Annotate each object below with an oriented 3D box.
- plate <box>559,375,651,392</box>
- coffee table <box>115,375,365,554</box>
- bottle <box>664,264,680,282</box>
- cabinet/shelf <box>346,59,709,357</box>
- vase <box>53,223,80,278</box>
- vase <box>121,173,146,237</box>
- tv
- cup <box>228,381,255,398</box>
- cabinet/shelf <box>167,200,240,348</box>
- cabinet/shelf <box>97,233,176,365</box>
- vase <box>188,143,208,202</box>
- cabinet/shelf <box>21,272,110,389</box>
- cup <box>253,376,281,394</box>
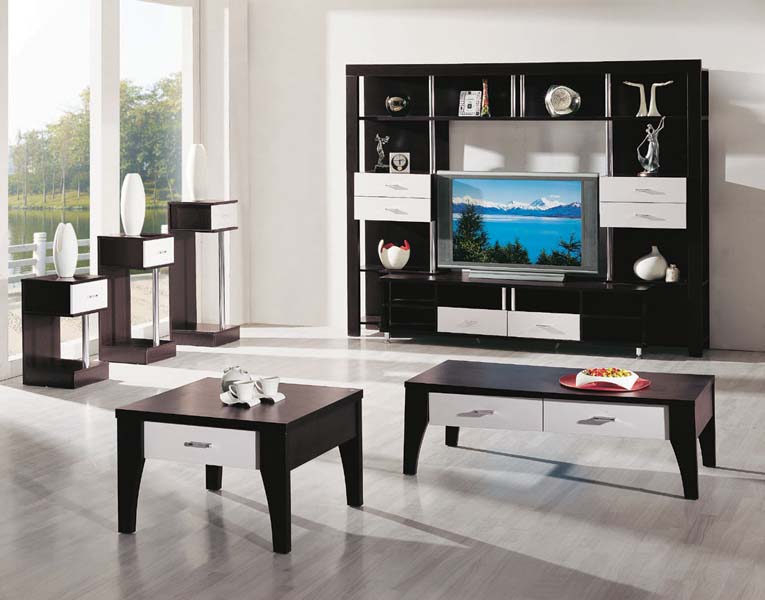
[{"bbox_3d":[0.992,0.370,3.070,0.380,0.033,0.248,3,8,23],"label":"plate"},{"bbox_3d":[-0.567,0.621,2.744,0.858,0.487,0.593,2,8,18],"label":"coffee table"},{"bbox_3d":[2.459,-0.219,5.781,0.149,0.148,0.146,3,7,26],"label":"bottle"},{"bbox_3d":[1.175,-0.735,6.085,3.254,2.178,0.878,3,6,9],"label":"cabinet/shelf"},{"bbox_3d":[-2.306,-0.356,4.961,0.155,0.384,0.228,-5,9,-26],"label":"vase"},{"bbox_3d":[-2.017,-0.766,5.519,0.183,0.502,0.280,-4,9,-21],"label":"vase"},{"bbox_3d":[1.277,-0.661,6.087,1.207,0.632,0.051,2,7,20],"label":"tv"},{"bbox_3d":[-0.541,0.338,2.616,0.081,0.051,0.063,-1,4,3],"label":"cup"},{"bbox_3d":[-1.645,-0.249,6.218,0.587,1.279,0.486,0,8,5],"label":"cabinet/shelf"},{"bbox_3d":[-2.017,-0.023,5.606,0.541,1.006,0.567,0,8,3],"label":"cabinet/shelf"},{"bbox_3d":[-1.696,-1.156,6.221,0.172,0.497,0.115,-2,9,-12],"label":"vase"},{"bbox_3d":[-2.239,0.227,4.812,0.585,0.750,0.342,-4,9,-25],"label":"cabinet/shelf"},{"bbox_3d":[-0.463,0.335,2.732,0.093,0.057,0.061,-1,-1,19],"label":"cup"}]
